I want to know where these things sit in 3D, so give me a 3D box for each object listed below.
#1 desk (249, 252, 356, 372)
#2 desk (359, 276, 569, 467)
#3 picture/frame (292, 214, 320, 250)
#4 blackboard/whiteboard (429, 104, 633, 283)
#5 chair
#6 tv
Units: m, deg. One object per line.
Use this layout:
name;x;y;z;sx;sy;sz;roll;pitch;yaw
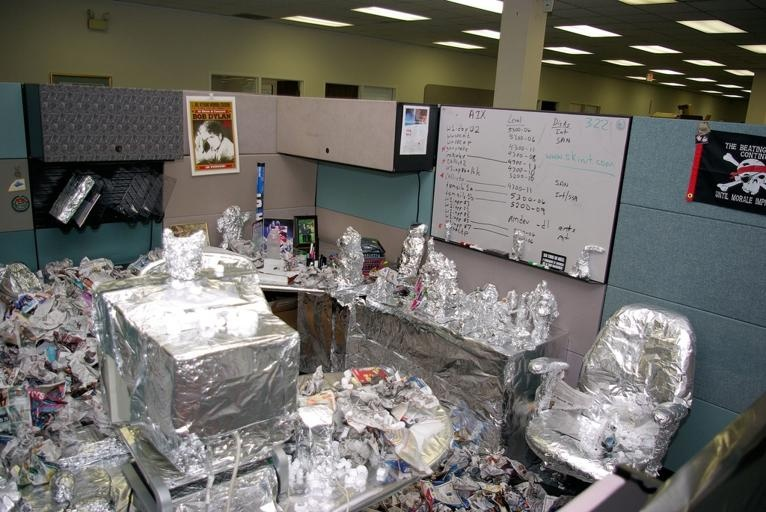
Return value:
desk;-0.570;0.446;3.994;0.791;1.007;1.022;-4;18;-23
desk;0.375;0.720;3.607;1.313;0.883;0.803;18;25;35
picture/frame;-0.669;-0.200;4.313;0.319;0.411;0.047;-1;1;-34
blackboard/whiteboard;0.977;-0.394;3.279;0.049;0.884;1.109;-11;20;-40
chair;1.222;0.815;2.755;0.804;0.964;0.869;9;17;39
tv;-0.599;0.367;1.642;0.432;0.542;0.522;-10;20;-40
